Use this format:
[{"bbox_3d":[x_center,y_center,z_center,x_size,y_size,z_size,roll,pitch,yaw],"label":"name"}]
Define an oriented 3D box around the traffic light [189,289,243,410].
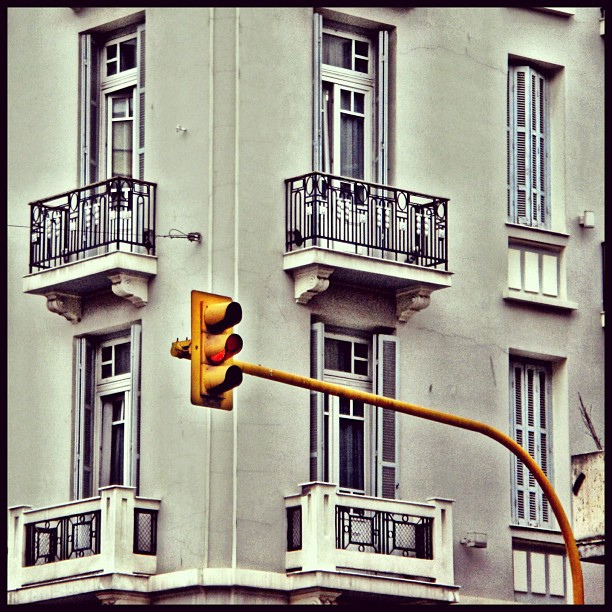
[{"bbox_3d":[-0.957,0.448,23.807,0.558,1.277,0.655,0,-13,-2],"label":"traffic light"}]
